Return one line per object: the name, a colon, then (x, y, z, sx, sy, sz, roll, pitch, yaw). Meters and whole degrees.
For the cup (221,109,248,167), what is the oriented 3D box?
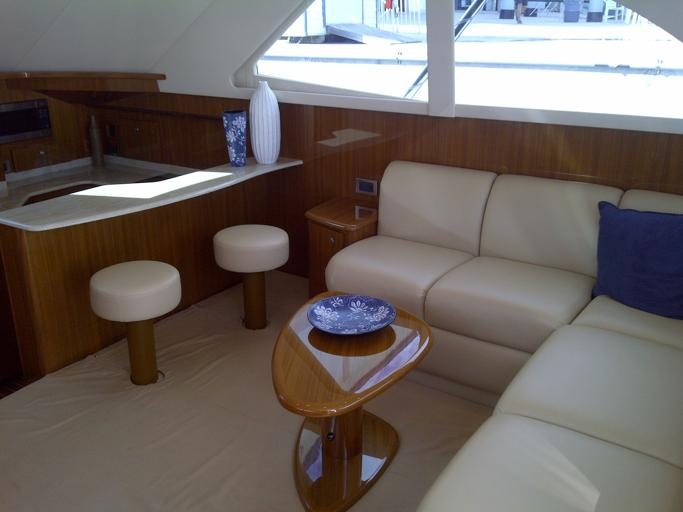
cup: (-0.712, -0.792, 3.439, 0.140, 0.346, 0.173, -4, 24, -11)

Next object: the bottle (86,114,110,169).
bottle: (-2.121, -0.994, 4.381, 0.116, 0.423, 0.173, -9, 25, -21)

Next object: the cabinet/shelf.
cabinet/shelf: (0.011, -0.042, 3.000, 0.386, 0.598, 0.396, 21, 34, 37)

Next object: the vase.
vase: (-0.598, -0.921, 3.470, 0.491, 0.733, 0.270, -6, 24, -13)
